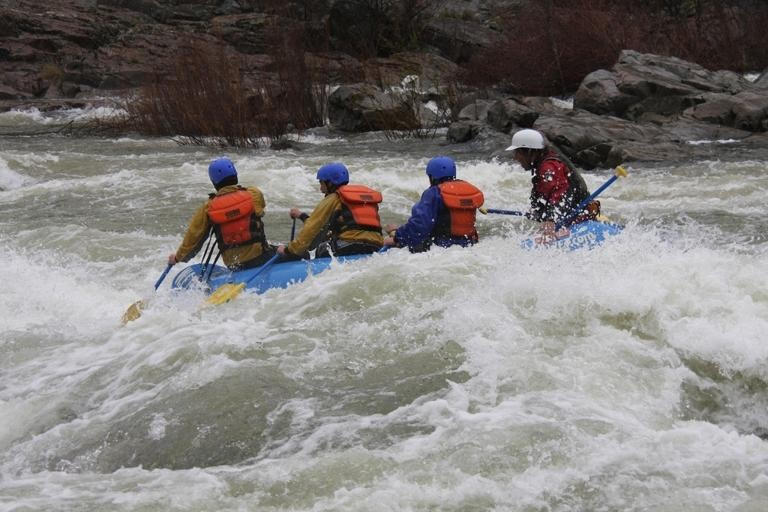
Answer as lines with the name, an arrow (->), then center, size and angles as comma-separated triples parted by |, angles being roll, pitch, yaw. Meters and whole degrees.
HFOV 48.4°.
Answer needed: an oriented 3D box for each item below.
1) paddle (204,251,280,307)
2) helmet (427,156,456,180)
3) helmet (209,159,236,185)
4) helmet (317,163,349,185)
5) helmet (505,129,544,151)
paddle -> -1.933, 0.349, 11.131 | 0.338, 0.186, 1.383 | 40, 48, 20
helmet -> 0.792, -1.243, 11.967 | 0.311, 0.287, 0.372 | -1, 18, -15
helmet -> -2.174, -1.177, 11.543 | 0.307, 0.309, 0.390 | -19, 22, -11
helmet -> -0.696, -1.138, 11.714 | 0.403, 0.230, 0.281 | -6, 18, -8
helmet -> 1.992, -1.637, 12.034 | 0.478, 0.214, 0.322 | 3, 5, 2
